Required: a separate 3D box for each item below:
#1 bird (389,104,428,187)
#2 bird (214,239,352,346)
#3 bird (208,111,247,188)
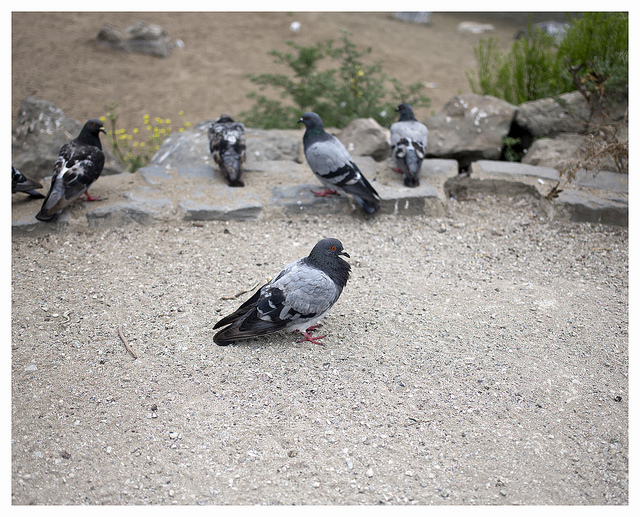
[{"bbox_3d":[1.011,-1.330,8.283,0.403,0.661,1.049,1,50,-1],"label":"bird"},{"bbox_3d":[-0.304,0.349,6.163,1.252,0.754,0.544,-11,35,-15],"label":"bird"},{"bbox_3d":[-1.045,-1.185,8.137,0.404,0.607,0.520,-7,34,-8],"label":"bird"}]
